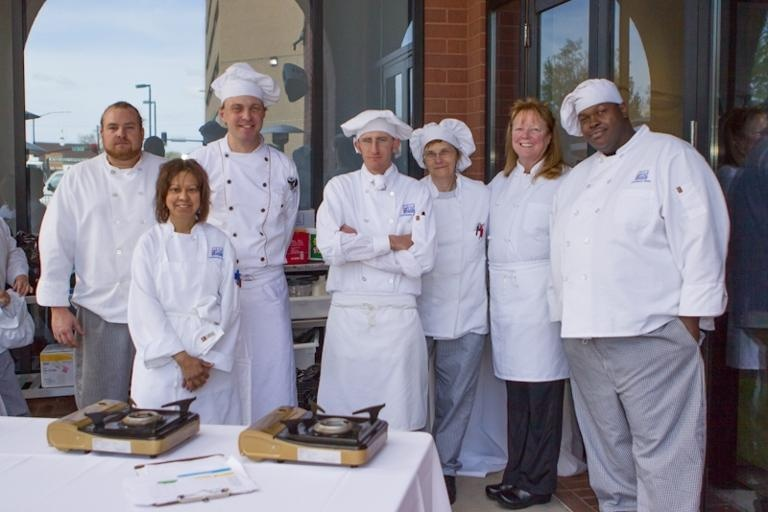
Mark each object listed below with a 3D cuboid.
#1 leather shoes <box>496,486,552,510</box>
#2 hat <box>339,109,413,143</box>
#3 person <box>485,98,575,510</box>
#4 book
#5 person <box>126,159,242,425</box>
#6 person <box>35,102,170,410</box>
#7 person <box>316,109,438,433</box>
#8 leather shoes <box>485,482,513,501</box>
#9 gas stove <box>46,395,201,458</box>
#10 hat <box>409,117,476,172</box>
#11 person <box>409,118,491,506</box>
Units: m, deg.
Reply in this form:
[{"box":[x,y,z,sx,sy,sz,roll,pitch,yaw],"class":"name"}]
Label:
[{"box":[0.751,1.304,3.976,0.256,0.084,0.110,3,3,-4],"class":"leather shoes"},{"box":[-0.035,-0.666,3.800,0.344,0.151,0.210,-2,5,2],"class":"hat"},{"box":[0.651,0.257,4.122,0.584,1.955,0.671,-1,3,-23],"class":"person"},{"box":[-0.671,0.795,2.606,0.419,0.086,0.233,-4,6,-19],"class":"book"},{"box":[-0.893,0.206,3.488,0.500,1.266,0.492,0,2,-8],"class":"person"},{"box":[-1.415,-0.043,3.947,0.690,1.570,0.565,2,15,-8],"class":"person"},{"box":[-0.055,0.082,3.809,0.636,1.627,0.341,-2,6,3],"class":"person"},{"box":[0.612,1.292,4.051,0.157,0.066,0.067,-3,3,-7],"class":"leather shoes"},{"box":[-0.997,0.653,2.872,0.474,0.160,0.363,1,4,14],"class":"gas stove"},{"box":[0.303,-0.645,4.098,0.358,0.298,0.309,11,15,19],"class":"hat"},{"box":[0.397,0.256,4.087,0.684,1.885,0.587,0,2,-3],"class":"person"}]
